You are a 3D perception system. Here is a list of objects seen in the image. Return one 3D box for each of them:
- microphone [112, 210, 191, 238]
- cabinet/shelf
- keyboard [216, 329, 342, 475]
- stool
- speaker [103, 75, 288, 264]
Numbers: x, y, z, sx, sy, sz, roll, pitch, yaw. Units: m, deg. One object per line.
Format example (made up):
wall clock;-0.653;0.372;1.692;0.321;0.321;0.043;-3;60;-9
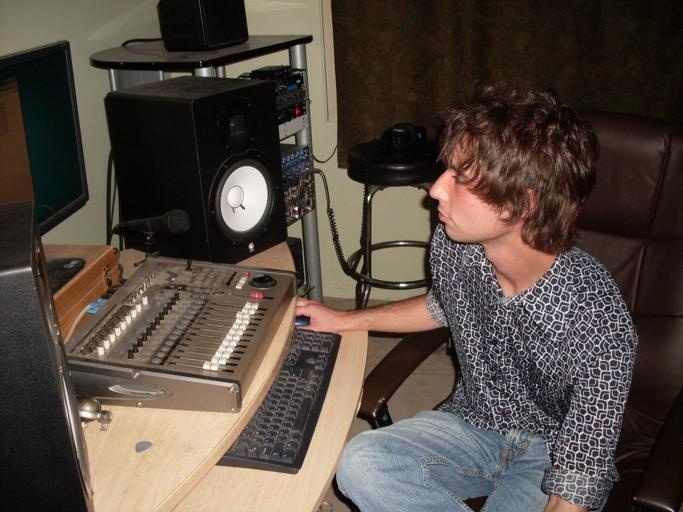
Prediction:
microphone;-0.560;-0.076;1.708;0.295;0.086;0.084;-4;4;29
cabinet/shelf;-0.507;-0.565;2.668;0.897;1.441;0.842;-7;29;-13
keyboard;-0.119;0.340;1.359;0.196;0.053;0.365;2;35;11
stool;0.230;-0.113;2.463;0.608;0.726;0.622;-10;23;-20
speaker;-0.350;-0.309;1.943;0.536;0.768;0.531;5;24;16
